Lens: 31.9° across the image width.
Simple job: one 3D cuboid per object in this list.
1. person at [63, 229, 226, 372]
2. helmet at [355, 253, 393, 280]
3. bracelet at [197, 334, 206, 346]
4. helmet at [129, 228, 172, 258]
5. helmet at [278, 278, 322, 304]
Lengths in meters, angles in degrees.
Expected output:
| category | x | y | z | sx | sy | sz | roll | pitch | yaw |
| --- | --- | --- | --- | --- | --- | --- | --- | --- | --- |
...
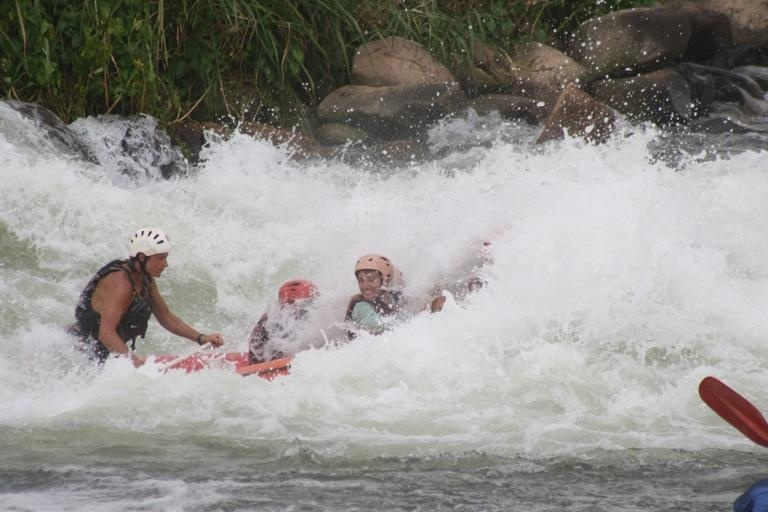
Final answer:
| category | x | y | z | sx | sy | sz | roll | pitch | yaw |
| --- | --- | --- | --- | --- | --- | --- | --- | --- | --- |
| person | -1.692 | 0.281 | 9.312 | 1.028 | 1.246 | 0.713 | 8 | 0 | 0 |
| helmet | -0.050 | 0.046 | 9.112 | 0.156 | 0.216 | 0.156 | -1 | 9 | -38 |
| bracelet | -1.207 | 0.557 | 8.932 | 0.017 | 0.061 | 0.059 | 11 | 35 | -27 |
| helmet | -1.526 | -0.097 | 8.903 | 0.230 | 0.189 | 0.167 | -27 | 6 | 3 |
| helmet | -0.572 | 0.237 | 9.147 | 0.213 | 0.113 | 0.153 | -4 | -8 | 1 |
